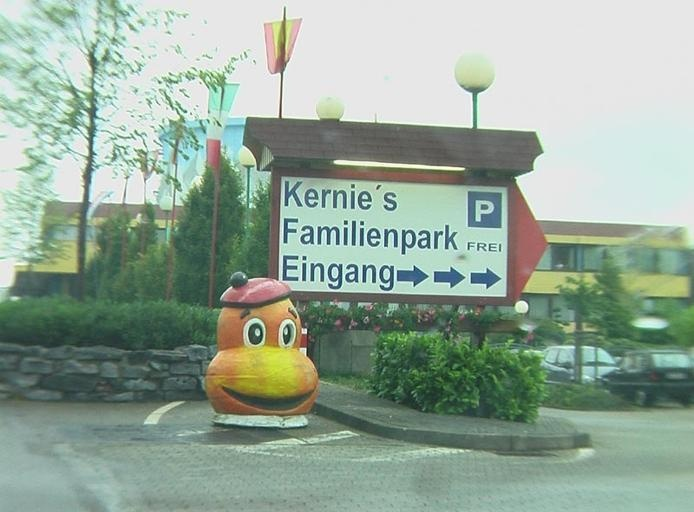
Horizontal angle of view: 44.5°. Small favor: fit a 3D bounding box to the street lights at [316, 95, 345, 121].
[{"bbox_3d":[-0.356,-3.006,17.392,0.509,0.547,0.770,2,1,-6],"label":"street lights"}]
